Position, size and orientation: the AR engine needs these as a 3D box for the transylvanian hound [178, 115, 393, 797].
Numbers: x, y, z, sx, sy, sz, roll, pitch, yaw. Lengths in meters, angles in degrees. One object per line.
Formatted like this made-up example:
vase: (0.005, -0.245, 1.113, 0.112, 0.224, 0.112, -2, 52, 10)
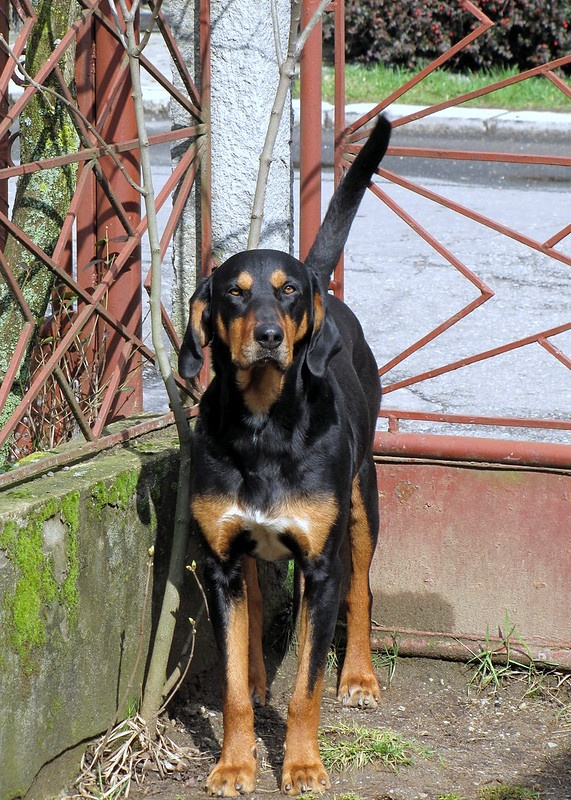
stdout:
transylvanian hound: (0.012, 0.084, 3.154, 0.583, 1.877, 1.035, 3, 10, 7)
